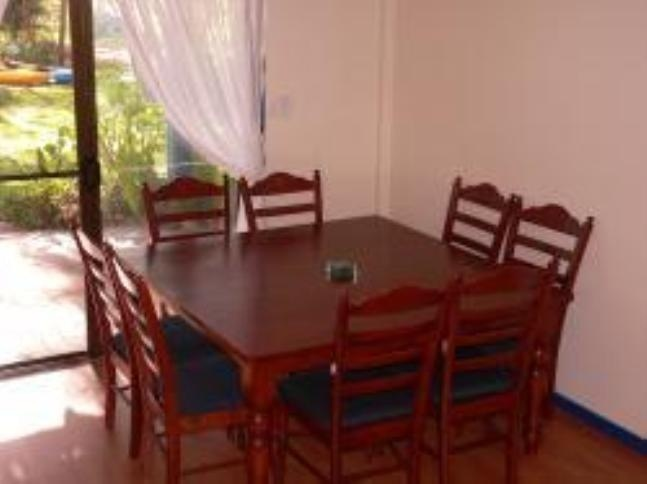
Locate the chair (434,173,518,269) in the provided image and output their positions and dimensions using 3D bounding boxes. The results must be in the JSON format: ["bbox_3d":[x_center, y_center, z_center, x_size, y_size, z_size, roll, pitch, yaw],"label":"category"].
[{"bbox_3d":[0.854,-0.118,2.861,0.314,0.573,0.303,-11,33,-43],"label":"chair"}]

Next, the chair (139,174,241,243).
[{"bbox_3d":[-0.818,-0.210,3.155,0.377,0.350,0.217,-6,15,-20],"label":"chair"}]

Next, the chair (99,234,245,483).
[{"bbox_3d":[-0.561,0.399,1.970,0.424,0.870,0.686,-8,19,-28],"label":"chair"}]

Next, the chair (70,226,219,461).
[{"bbox_3d":[-0.759,0.460,2.217,0.615,1.065,0.568,-7,28,-22],"label":"chair"}]
